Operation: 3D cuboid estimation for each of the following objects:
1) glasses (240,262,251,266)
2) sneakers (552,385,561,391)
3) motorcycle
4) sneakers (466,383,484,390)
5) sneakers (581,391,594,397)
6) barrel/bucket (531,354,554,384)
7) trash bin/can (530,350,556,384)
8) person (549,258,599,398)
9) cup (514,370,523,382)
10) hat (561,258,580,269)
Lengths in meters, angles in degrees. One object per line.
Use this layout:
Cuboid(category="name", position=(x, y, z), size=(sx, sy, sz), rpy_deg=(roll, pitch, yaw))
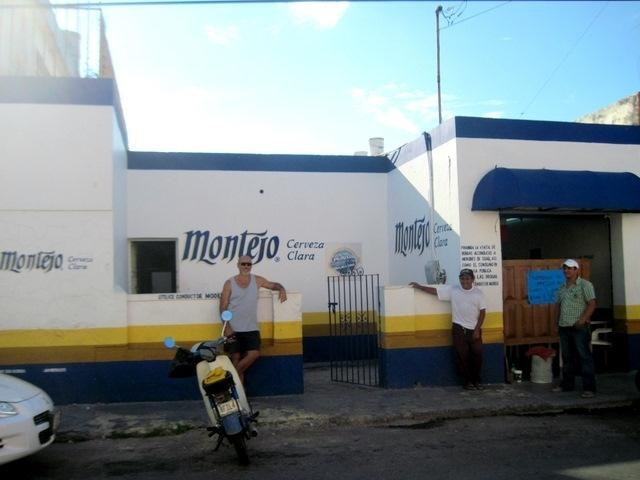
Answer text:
Cuboid(category="glasses", position=(-1.243, 0.408, 10.174), size=(0.209, 0.074, 0.109), rpy_deg=(-3, 5, -30))
Cuboid(category="sneakers", position=(4.216, 2.667, 10.856), size=(0.080, 0.062, 0.153), rpy_deg=(-5, -11, 9))
Cuboid(category="motorcycle", position=(-1.421, 2.031, 8.487), size=(1.185, 1.881, 1.533), rpy_deg=(-4, 5, -41))
Cuboid(category="sneakers", position=(2.833, 2.685, 11.057), size=(0.367, 0.092, 0.255), rpy_deg=(-1, 4, -5))
Cuboid(category="sneakers", position=(4.578, 2.655, 10.381), size=(0.076, 0.088, 0.208), rpy_deg=(-4, -15, 16))
Cuboid(category="barrel/bucket", position=(4.208, 2.451, 11.568), size=(0.453, 0.520, 0.462), rpy_deg=(0, -2, 0))
Cuboid(category="trash bin/can", position=(4.178, 2.375, 11.532), size=(0.549, 0.707, 0.557), rpy_deg=(2, 4, 28))
Cuboid(category="person", position=(4.474, 1.536, 10.682), size=(0.750, 2.328, 0.517), rpy_deg=(3, 6, 43))
Cuboid(category="cup", position=(3.760, 2.601, 11.589), size=(0.189, 0.226, 0.194), rpy_deg=(1, 5, 0))
Cuboid(category="hat", position=(4.514, 0.417, 10.877), size=(0.199, 0.127, 0.292), rpy_deg=(-3, -10, 36))
